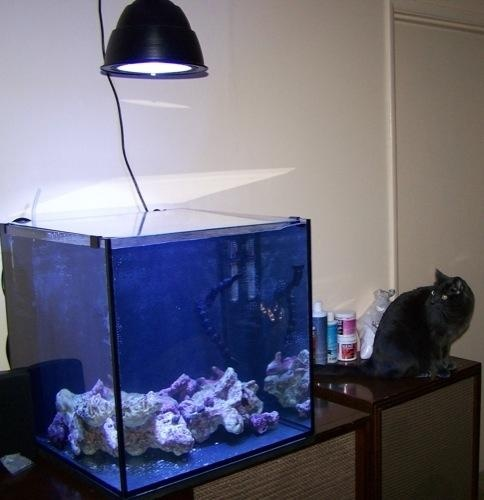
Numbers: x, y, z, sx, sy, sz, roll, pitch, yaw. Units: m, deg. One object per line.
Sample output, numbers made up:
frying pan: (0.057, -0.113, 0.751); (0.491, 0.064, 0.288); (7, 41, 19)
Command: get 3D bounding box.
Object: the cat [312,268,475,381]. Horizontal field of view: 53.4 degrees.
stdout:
cat: (0.499, 0.221, 1.572); (0.406, 0.304, 0.319); (-18, -2, -17)
